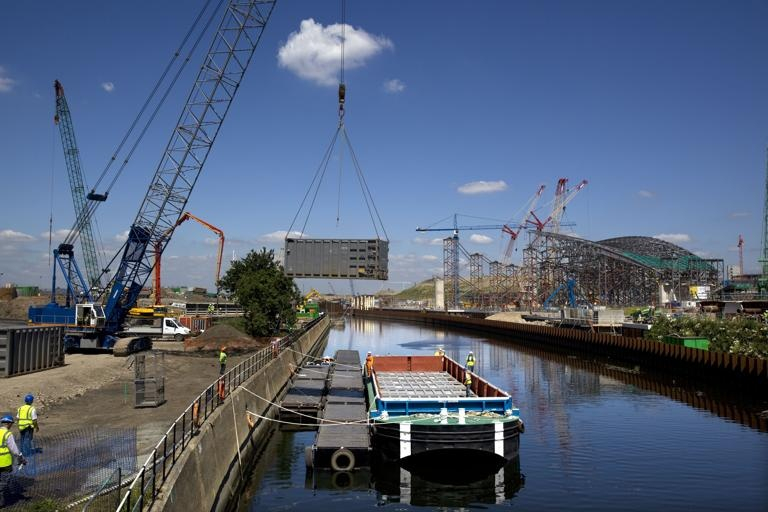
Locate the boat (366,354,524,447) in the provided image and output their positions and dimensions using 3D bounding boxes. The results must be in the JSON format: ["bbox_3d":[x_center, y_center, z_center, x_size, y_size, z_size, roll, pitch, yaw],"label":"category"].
[{"bbox_3d":[2.544,8.310,45.483,7.824,3.095,31.075,-2,0,-3],"label":"boat"}]
